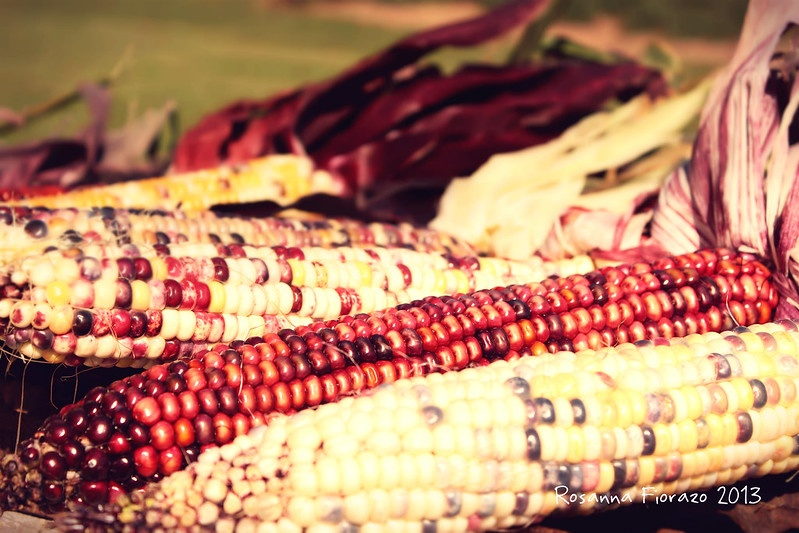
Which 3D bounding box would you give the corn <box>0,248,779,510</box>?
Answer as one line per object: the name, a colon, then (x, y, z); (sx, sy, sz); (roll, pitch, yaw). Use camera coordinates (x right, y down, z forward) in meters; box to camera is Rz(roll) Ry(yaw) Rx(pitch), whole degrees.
corn: (-0.031, 0.158, 1.004); (0.818, 0.135, 0.146); (-13, 25, -7)
